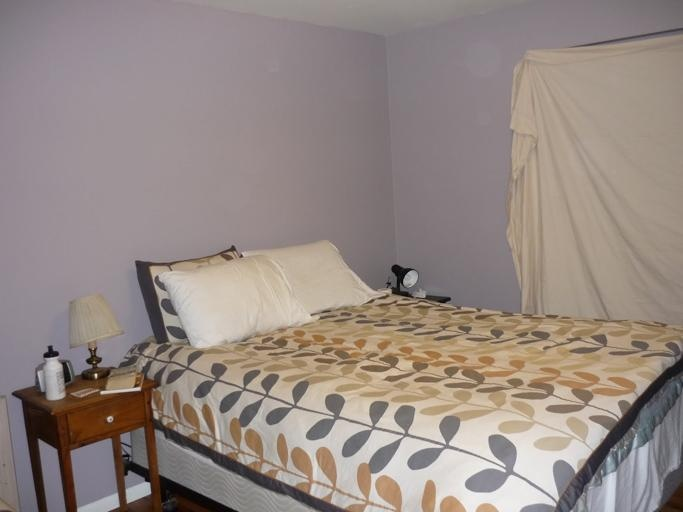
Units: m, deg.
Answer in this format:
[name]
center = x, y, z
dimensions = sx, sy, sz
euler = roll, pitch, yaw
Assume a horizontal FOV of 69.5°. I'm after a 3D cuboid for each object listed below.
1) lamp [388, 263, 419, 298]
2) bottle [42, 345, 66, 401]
[lamp]
center = 0.494, 0.193, 4.043
dimensions = 0.283, 0.309, 0.197
euler = 13, 18, 38
[bottle]
center = -1.337, 0.530, 2.287
dimensions = 0.092, 0.234, 0.176
euler = -12, 14, -31
